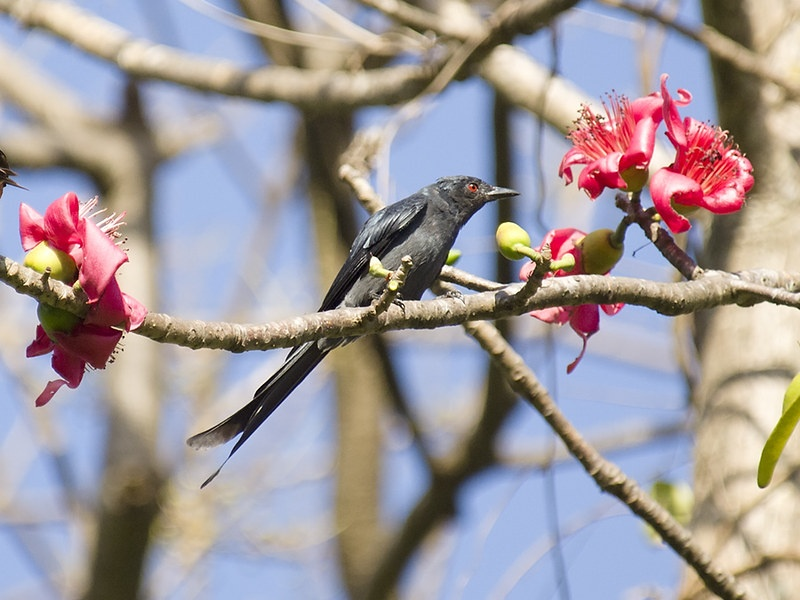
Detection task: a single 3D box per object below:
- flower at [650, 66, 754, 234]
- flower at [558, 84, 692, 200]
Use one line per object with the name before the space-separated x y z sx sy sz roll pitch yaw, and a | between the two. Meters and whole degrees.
flower | 1.538 -0.726 6.093 0.491 0.287 0.735 -49 -59 -18
flower | 0.993 -0.843 6.407 0.483 0.503 0.268 25 -81 -34
